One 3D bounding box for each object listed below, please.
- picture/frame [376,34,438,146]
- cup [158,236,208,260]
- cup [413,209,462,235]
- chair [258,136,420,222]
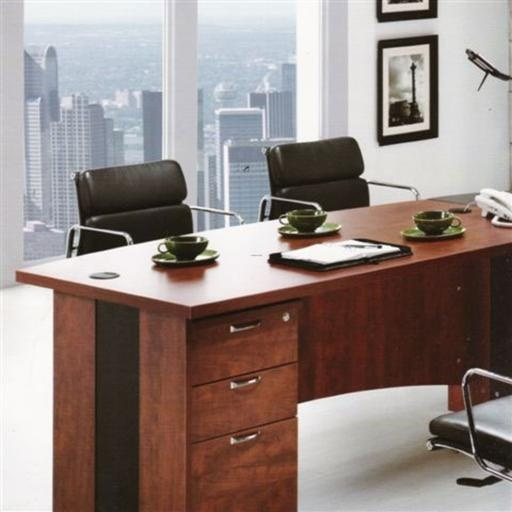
[{"bbox_3d":[1.324,-1.492,5.757,1.069,1.166,0.063,-7,12,-36],"label":"picture/frame"},{"bbox_3d":[-0.234,-0.037,2.015,0.121,0.045,0.096,-2,13,-3],"label":"cup"},{"bbox_3d":[0.673,-0.121,2.403,0.126,0.058,0.146,2,8,15],"label":"cup"},{"bbox_3d":[0.476,-0.433,3.734,0.730,0.736,0.611,-8,11,-34],"label":"chair"}]
